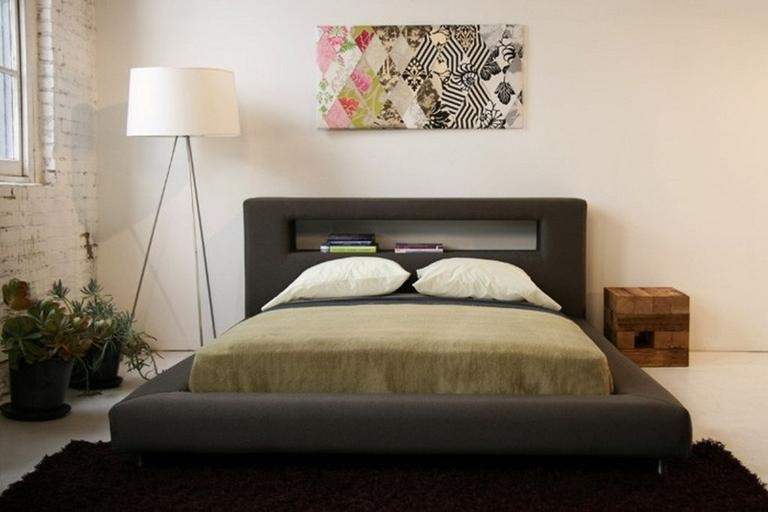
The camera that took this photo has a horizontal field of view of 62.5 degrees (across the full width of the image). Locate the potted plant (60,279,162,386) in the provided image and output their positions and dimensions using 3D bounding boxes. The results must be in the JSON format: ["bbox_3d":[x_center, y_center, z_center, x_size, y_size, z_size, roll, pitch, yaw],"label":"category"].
[{"bbox_3d":[-1.837,0.525,4.400,0.689,0.754,0.764,2,-3,0],"label":"potted plant"}]

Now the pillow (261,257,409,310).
[{"bbox_3d":[-0.285,0.171,4.378,0.549,0.156,0.536,-7,-8,-15],"label":"pillow"}]

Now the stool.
[{"bbox_3d":[1.913,0.534,4.802,0.636,0.508,0.625,1,2,11],"label":"stool"}]
